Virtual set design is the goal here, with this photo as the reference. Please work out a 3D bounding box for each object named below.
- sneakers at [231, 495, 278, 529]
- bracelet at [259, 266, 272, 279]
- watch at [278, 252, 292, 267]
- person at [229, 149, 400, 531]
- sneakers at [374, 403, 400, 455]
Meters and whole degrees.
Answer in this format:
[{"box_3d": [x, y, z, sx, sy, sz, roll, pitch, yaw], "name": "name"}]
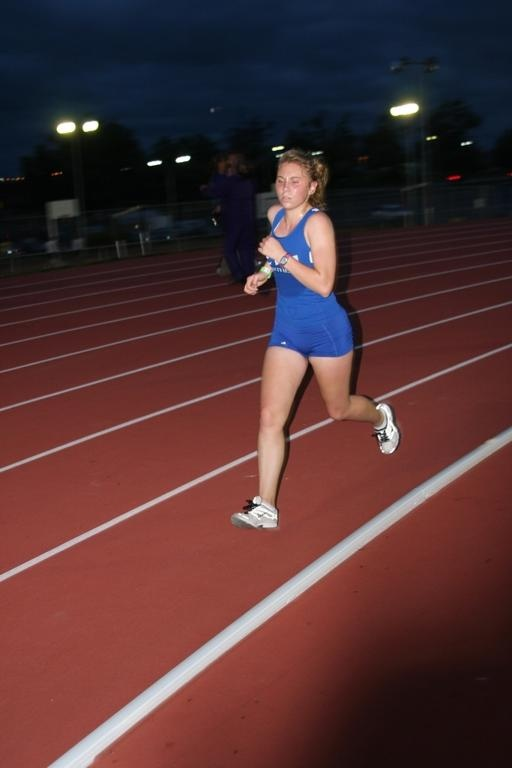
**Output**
[{"box_3d": [0.009, 0.597, 2.513, 0.267, 0.194, 0.096, 4, -2, 2], "name": "sneakers"}, {"box_3d": [0.053, -0.544, 2.633, 0.064, 0.043, 0.066, -29, -19, -17], "name": "bracelet"}, {"box_3d": [0.122, -0.524, 2.277, 0.037, 0.055, 0.058, 36, -6, -4], "name": "watch"}, {"box_3d": [0.220, -0.246, 2.667, 0.546, 1.676, 1.055, 0, 14, 24], "name": "person"}, {"box_3d": [0.768, 0.286, 3.220, 0.127, 0.323, 0.124, -17, 8, -42], "name": "sneakers"}]
